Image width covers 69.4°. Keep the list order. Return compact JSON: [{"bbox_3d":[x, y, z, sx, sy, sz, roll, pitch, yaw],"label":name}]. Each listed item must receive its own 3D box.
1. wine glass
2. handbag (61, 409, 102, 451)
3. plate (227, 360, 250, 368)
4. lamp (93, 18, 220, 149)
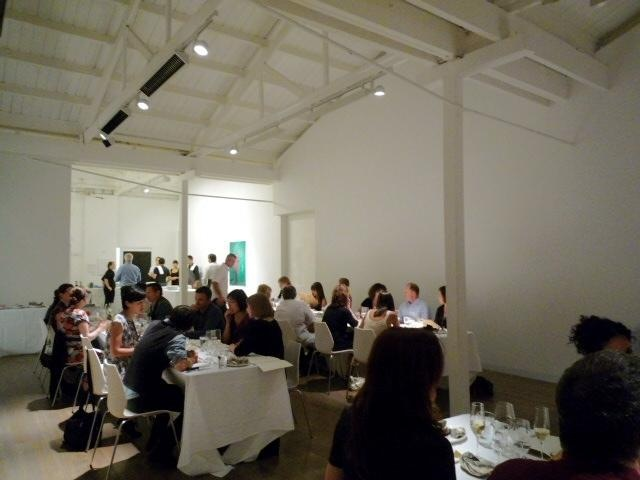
[{"bbox_3d":[1.059,1.093,2.635,0.314,0.173,0.424,-3,-3,32],"label":"wine glass"},{"bbox_3d":[-2.235,1.857,4.550,0.278,0.412,0.403,-10,-18,27],"label":"handbag"},{"bbox_3d":[-0.735,1.103,4.178,0.189,0.037,0.193,-1,3,-11],"label":"plate"},{"bbox_3d":[-2.537,-2.428,7.076,0.283,0.410,2.408,31,-48,-22],"label":"lamp"}]
